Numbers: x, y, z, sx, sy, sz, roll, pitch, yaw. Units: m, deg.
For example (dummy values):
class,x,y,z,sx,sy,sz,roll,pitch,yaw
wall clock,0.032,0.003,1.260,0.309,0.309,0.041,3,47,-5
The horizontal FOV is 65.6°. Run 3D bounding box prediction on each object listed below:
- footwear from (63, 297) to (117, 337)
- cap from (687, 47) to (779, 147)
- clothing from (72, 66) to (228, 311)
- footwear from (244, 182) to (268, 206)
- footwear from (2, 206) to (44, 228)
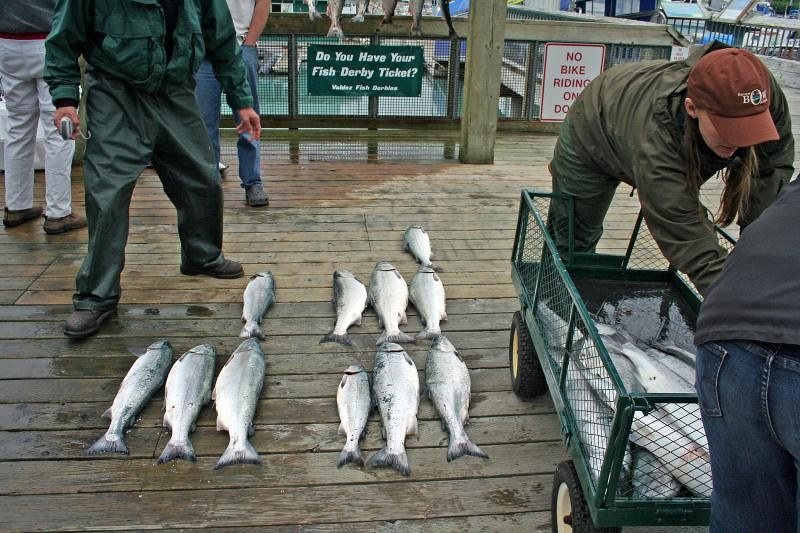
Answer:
class,x,y,z,sx,sy,sz,roll,pitch,yaw
footwear,-2.049,0.339,4.157,0.159,0.149,0.396,4,15,12
cap,1.567,-0.787,2.978,0.346,0.245,0.499,-19,59,-1
clothing,-1.626,-0.605,4.322,1.190,1.984,0.457,-8,-12,-17
footwear,-1.412,-0.689,6.154,0.150,0.132,0.319,-7,15,-21
footwear,-3.335,-0.436,5.477,0.140,0.157,0.396,14,28,22
